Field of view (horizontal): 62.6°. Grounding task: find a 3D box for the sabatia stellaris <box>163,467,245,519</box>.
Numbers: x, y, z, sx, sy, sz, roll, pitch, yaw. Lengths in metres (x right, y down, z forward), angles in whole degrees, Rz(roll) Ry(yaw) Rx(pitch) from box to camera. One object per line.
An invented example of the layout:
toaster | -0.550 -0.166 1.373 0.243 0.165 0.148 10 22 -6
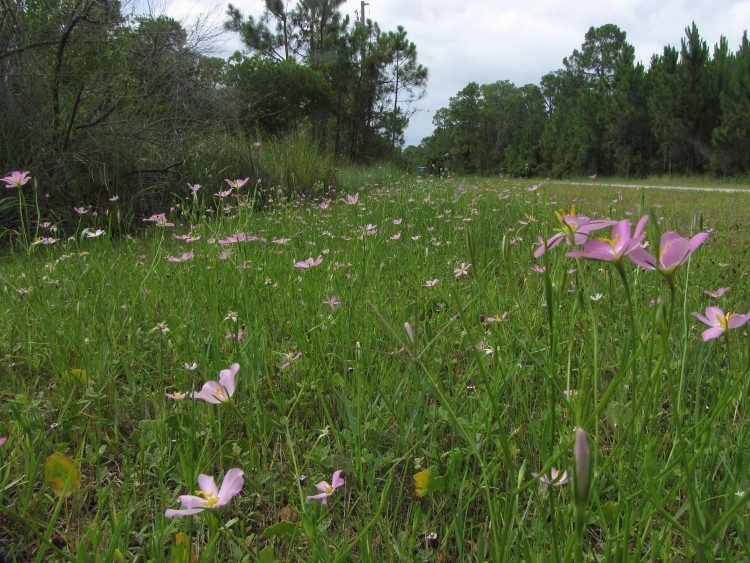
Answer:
sabatia stellaris | -0.473 0.609 1.740 0.172 0.087 0.171 -24 -7 -45

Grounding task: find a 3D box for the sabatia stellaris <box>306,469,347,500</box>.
sabatia stellaris | -0.154 0.603 1.885 0.117 0.060 0.121 -39 -3 5
